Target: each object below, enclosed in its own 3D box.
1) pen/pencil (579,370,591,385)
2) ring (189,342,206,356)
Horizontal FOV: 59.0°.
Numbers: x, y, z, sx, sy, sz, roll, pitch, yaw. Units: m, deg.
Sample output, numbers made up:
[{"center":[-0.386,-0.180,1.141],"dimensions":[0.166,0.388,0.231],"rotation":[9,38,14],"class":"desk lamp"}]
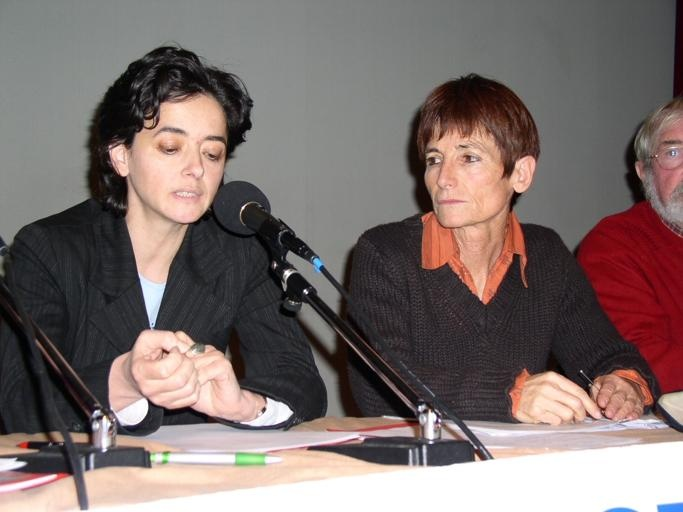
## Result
[{"center":[0.880,0.436,2.175],"dimensions":[0.024,0.025,0.193],"rotation":[-5,-23,25],"class":"pen/pencil"},{"center":[-0.348,0.230,1.493],"dimensions":[0.041,0.033,0.016],"rotation":[-9,27,27],"class":"ring"}]
